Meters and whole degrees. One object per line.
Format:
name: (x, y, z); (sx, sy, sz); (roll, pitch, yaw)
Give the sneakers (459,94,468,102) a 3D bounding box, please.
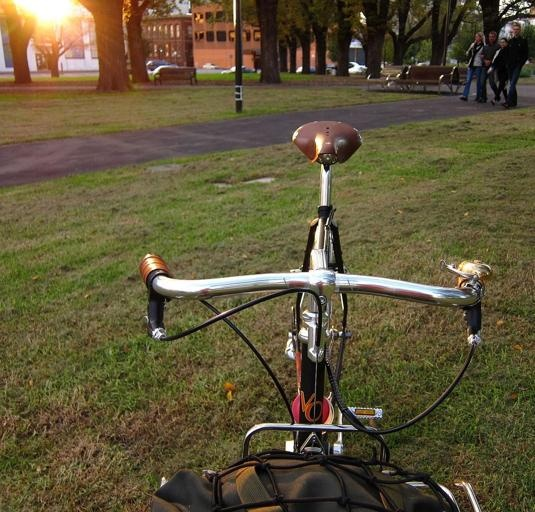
sneakers: (4.918, -3.926, 19.527); (0.106, 0.195, 0.391); (3, 13, 15)
